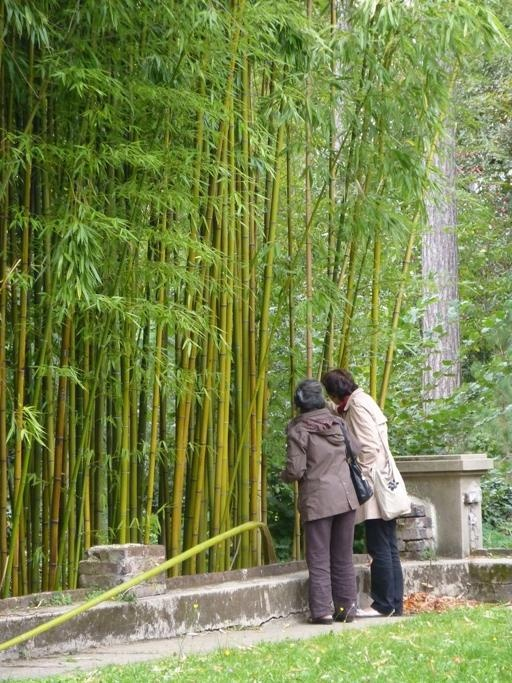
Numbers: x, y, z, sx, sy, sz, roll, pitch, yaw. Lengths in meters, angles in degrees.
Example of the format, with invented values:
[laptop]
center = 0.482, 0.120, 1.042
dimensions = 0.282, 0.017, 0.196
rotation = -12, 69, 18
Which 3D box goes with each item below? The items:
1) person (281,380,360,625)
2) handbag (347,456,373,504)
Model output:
[person]
center = 0.265, 0.631, 4.478
dimensions = 0.361, 0.960, 0.235
rotation = 1, -7, -18
[handbag]
center = 0.414, 0.554, 4.487
dimensions = 0.057, 0.194, 0.129
rotation = -20, -12, 1
